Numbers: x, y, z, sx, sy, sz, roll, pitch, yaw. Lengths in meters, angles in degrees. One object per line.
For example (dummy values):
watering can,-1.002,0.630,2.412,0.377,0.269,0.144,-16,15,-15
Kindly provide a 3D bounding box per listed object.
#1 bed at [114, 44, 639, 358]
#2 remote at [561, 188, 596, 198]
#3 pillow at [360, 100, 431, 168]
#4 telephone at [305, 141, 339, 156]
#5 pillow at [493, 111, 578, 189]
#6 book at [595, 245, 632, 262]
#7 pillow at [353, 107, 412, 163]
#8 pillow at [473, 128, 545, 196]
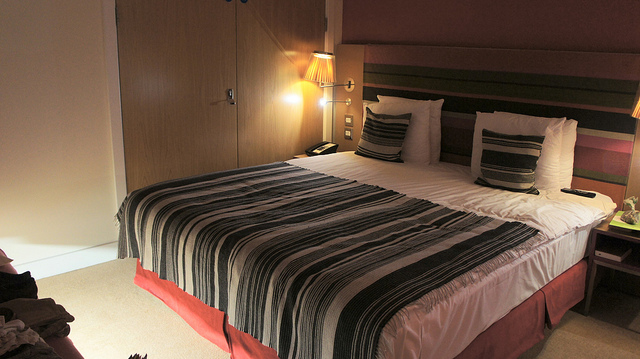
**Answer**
bed,0.592,0.202,3.827,2.634,1.529,2.682,18,28,41
remote,2.592,0.108,4.080,0.257,0.056,0.125,12,17,36
pillow,1.028,-0.556,4.670,0.824,0.676,0.240,3,6,26
telephone,0.034,-0.408,5.389,0.318,0.111,0.224,-14,22,-30
pillow,2.168,-0.273,4.081,0.759,0.711,0.274,10,18,42
book,2.765,0.689,3.816,0.187,0.036,0.197,-16,15,-36
pillow,0.765,-0.522,4.853,0.685,0.590,0.246,19,18,41
pillow,1.955,-0.174,4.131,0.237,0.600,0.690,-15,19,-36
